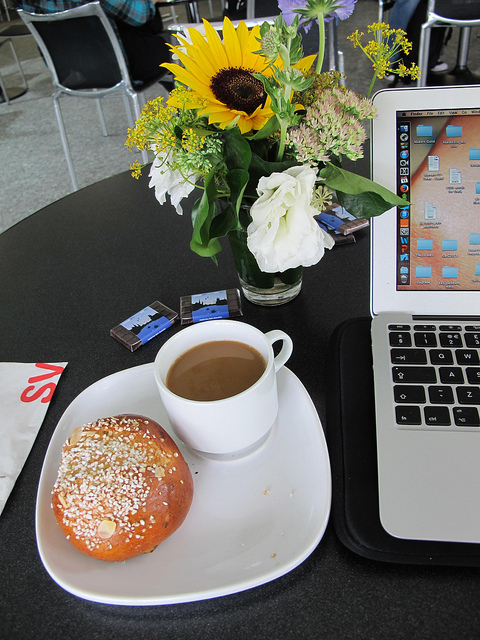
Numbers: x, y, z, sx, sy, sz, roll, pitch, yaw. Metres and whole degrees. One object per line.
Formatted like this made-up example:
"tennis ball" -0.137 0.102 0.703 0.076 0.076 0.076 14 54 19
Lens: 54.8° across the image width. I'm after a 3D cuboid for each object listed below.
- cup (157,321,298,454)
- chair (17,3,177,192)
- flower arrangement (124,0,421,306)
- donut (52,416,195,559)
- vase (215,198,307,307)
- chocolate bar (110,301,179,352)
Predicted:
"cup" -0.004 0.051 0.335 0.102 0.072 0.081 -16 37 -10
"chair" -0.558 -0.925 1.846 0.528 0.625 0.662 -25 41 -11
"flower arrangement" 0.035 -0.141 0.427 0.241 0.239 0.208 -18 40 -2
"donut" -0.071 0.100 0.279 0.075 0.045 0.080 -12 40 3
"vase" 0.019 -0.054 0.384 0.050 0.067 0.047 -27 50 -12
"chocolate bar" -0.095 0.005 0.463 0.042 0.016 0.066 22 52 35
